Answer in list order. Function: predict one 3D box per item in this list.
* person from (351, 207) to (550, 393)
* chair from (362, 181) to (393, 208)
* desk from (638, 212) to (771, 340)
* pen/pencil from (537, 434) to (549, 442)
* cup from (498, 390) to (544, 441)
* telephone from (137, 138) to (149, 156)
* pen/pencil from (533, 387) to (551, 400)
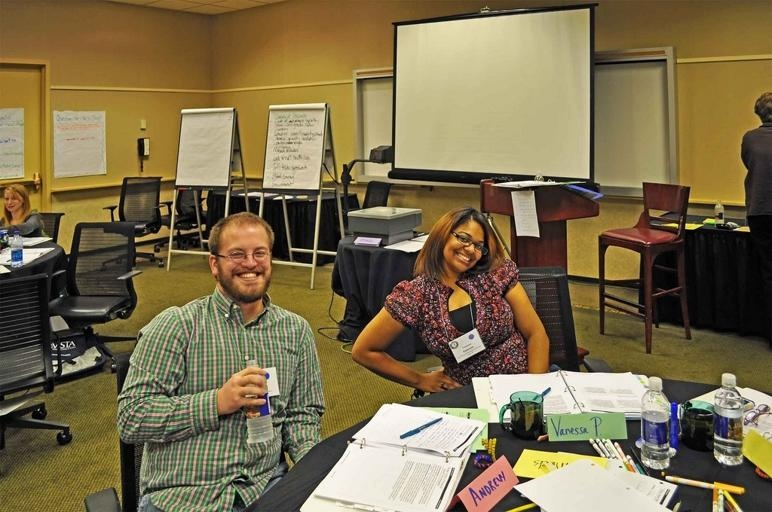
[{"bbox_3d":[0.332,0.238,2.582,0.958,0.932,0.318,-1,8,-7],"label":"person"},{"bbox_3d":[-0.121,-0.854,7.159,0.350,0.588,0.430,4,8,25],"label":"chair"},{"bbox_3d":[3.055,0.117,5.364,1.543,1.466,0.872,2,7,35],"label":"desk"},{"bbox_3d":[0.561,0.644,1.840,0.039,0.016,0.017,-4,3,-31],"label":"pen/pencil"},{"bbox_3d":[0.499,0.568,1.874,0.180,0.129,0.115,-4,6,-27],"label":"cup"},{"bbox_3d":[-4.147,-1.854,8.866,0.098,0.320,0.222,3,8,23],"label":"telephone"},{"bbox_3d":[0.609,0.535,2.009,0.027,0.027,0.103,-30,-5,35],"label":"pen/pencil"}]
